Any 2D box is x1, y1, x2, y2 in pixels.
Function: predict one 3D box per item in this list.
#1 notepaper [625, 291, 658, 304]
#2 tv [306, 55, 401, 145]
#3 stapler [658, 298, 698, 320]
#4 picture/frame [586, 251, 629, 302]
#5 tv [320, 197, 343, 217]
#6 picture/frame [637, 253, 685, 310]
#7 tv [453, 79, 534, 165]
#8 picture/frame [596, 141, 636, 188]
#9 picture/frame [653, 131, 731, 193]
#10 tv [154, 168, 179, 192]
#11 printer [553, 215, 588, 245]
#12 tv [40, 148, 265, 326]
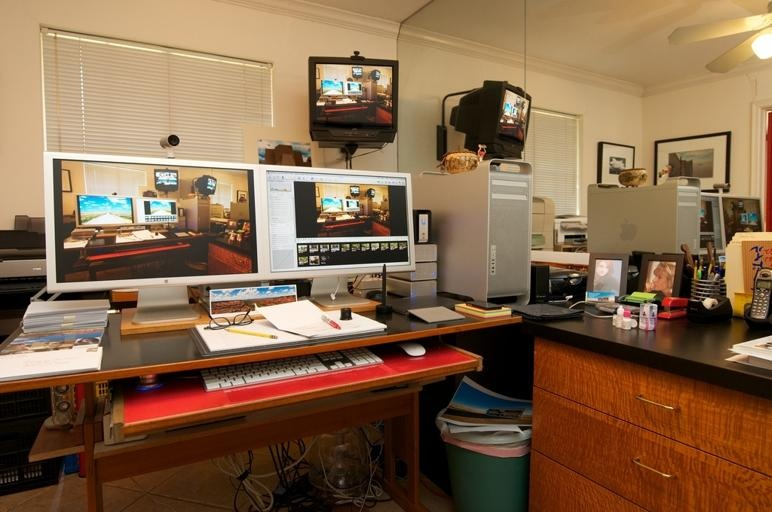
[{"bbox_3d":[1.248,0.210,2.615,0.098,0.057,0.131,-7,10,-42],"label":"notepaper"},{"bbox_3d":[-0.345,-1.300,4.430,0.780,0.657,0.456,-8,23,-27],"label":"tv"},{"bbox_3d":[1.359,0.251,2.529,0.123,0.096,0.094,3,8,22],"label":"stapler"},{"bbox_3d":[1.141,0.094,2.760,0.068,0.210,0.194,-6,10,-38],"label":"picture/frame"},{"bbox_3d":[-0.283,-0.246,2.659,0.116,0.086,0.040,-1,8,-24],"label":"tv"},{"bbox_3d":[1.348,0.131,2.601,0.023,0.190,0.281,2,-6,-26],"label":"picture/frame"},{"bbox_3d":[0.690,-0.972,3.860,0.569,0.479,0.397,10,8,30],"label":"tv"},{"bbox_3d":[1.301,-0.519,3.001,0.034,0.308,0.291,3,3,-36],"label":"picture/frame"},{"bbox_3d":[1.557,-0.474,2.742,0.423,0.301,0.010,-1,3,-7],"label":"picture/frame"},{"bbox_3d":[-0.993,-0.341,2.384,0.129,0.111,0.043,0,-1,-23],"label":"tv"},{"bbox_3d":[1.109,-0.156,3.214,0.204,0.169,0.174,0,0,6],"label":"printer"},{"bbox_3d":[-1.037,-0.069,2.392,1.018,0.705,0.251,0,-2,-22],"label":"tv"}]
